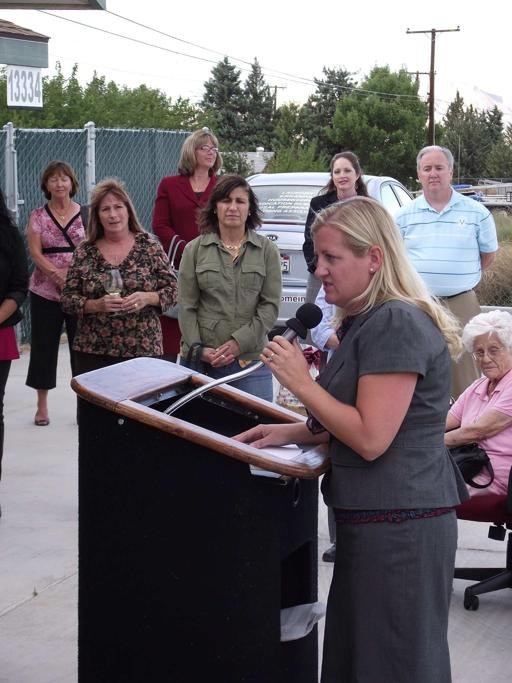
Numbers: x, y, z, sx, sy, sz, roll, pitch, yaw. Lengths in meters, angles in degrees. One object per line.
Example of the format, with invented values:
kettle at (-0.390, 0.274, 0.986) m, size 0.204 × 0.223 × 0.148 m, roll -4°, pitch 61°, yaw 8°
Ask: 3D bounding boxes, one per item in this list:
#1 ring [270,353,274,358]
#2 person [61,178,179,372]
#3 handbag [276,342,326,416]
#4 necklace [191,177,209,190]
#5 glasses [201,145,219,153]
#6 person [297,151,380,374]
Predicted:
ring at (0.034, 0.032, 1.454) m, size 0.007 × 0.010 × 0.011 m, roll 1°, pitch -8°, yaw -14°
person at (-0.858, -0.408, 4.068) m, size 0.514 × 1.193 × 0.585 m, roll 11°, pitch 14°, yaw 43°
handbag at (0.321, 0.290, 4.966) m, size 0.192 × 0.467 × 0.491 m, roll 8°, pitch -1°, yaw -20°
necklace at (-0.431, -1.160, 4.846) m, size 0.100 × 0.114 × 0.047 m, roll 6°, pitch -18°, yaw -2°
glasses at (-0.344, -1.405, 4.774) m, size 0.056 × 0.054 × 0.138 m, roll 8°, pitch 12°, yaw 38°
person at (0.621, -0.504, 4.964) m, size 0.579 × 1.757 × 0.462 m, roll 1°, pitch 29°, yaw 3°
